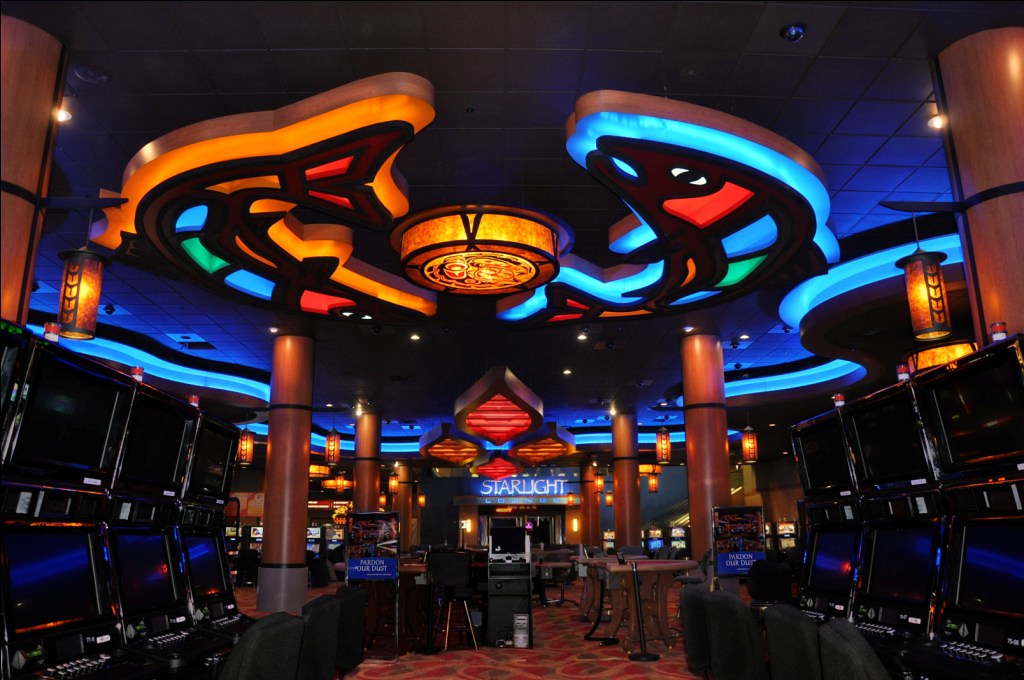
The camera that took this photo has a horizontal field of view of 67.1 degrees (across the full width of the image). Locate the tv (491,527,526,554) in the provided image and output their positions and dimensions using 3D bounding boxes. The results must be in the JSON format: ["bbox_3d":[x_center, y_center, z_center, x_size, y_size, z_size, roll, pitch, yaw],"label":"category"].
[{"bbox_3d":[-0.045,2.829,10.837,0.644,0.388,0.320,1,-20,-2],"label":"tv"}]

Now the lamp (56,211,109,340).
[{"bbox_3d":[-3.710,-0.464,6.617,0.316,0.878,0.364,8,-23,-29],"label":"lamp"}]

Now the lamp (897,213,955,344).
[{"bbox_3d":[3.735,-0.675,7.044,0.468,1.215,0.453,-10,-11,28],"label":"lamp"}]

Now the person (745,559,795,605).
[{"bbox_3d":[3.353,3.094,10.049,0.764,0.550,0.424,3,-2,-29],"label":"person"}]
